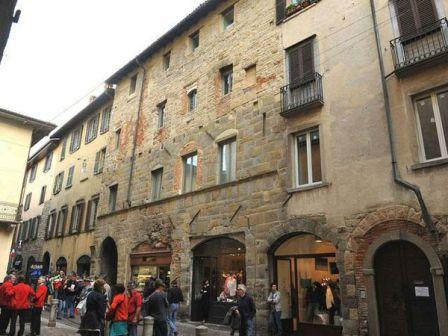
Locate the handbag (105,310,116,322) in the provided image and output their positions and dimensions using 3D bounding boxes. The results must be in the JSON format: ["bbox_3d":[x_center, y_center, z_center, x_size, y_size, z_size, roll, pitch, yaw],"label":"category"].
[{"bbox_3d":[-3.125,4.092,9.889,0.167,0.256,0.232,20,-29,-40],"label":"handbag"}]

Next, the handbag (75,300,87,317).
[{"bbox_3d":[-4.293,4.203,10.794,0.242,0.524,1.409,8,-24,-19],"label":"handbag"}]

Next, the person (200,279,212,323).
[{"bbox_3d":[-0.792,5.736,15.463,0.492,1.791,0.593,-6,-22,17],"label":"person"}]
